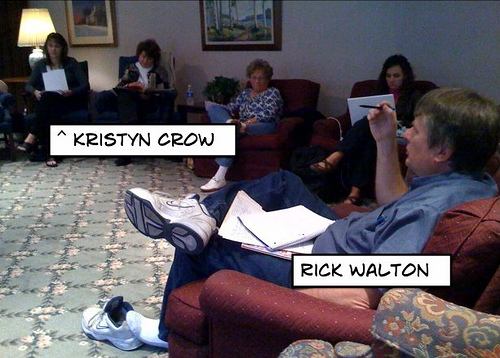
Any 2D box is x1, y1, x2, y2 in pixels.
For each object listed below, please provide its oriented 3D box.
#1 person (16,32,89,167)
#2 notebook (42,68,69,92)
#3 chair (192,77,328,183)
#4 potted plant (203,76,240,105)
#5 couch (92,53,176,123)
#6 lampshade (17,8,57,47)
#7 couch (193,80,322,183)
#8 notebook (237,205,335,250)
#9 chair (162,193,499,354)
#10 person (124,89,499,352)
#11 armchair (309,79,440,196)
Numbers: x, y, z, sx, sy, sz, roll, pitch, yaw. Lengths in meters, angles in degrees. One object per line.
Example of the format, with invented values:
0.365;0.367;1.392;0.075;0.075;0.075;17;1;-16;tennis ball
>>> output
-2.606;-1.038;4.668;0.723;1.560;0.856;5;19;23;person
-2.485;-1.245;4.634;0.299;0.300;0.080;-13;9;-9;notebook
0.247;-0.511;4.258;1.314;1.242;1.315;7;13;30;chair
-0.427;-1.159;4.811;0.482;0.365;0.525;-12;22;-38;potted plant
-1.461;-1.159;5.073;1.021;1.250;1.042;1;10;-2;couch
-3.143;-2.190;5.295;0.460;0.498;0.225;-4;17;-6;lampshade
0.175;-0.632;4.293;1.249;1.139;1.236;-10;18;-40;couch
0.135;0.128;1.566;0.422;0.113;0.509;7;16;10;notebook
0.281;0.354;1.230;0.809;0.491;0.644;7;12;25;chair
-0.040;0.028;1.830;1.840;1.208;0.869;3;20;16;person
1.137;-0.465;3.687;0.998;0.982;1.461;7;19;27;armchair
